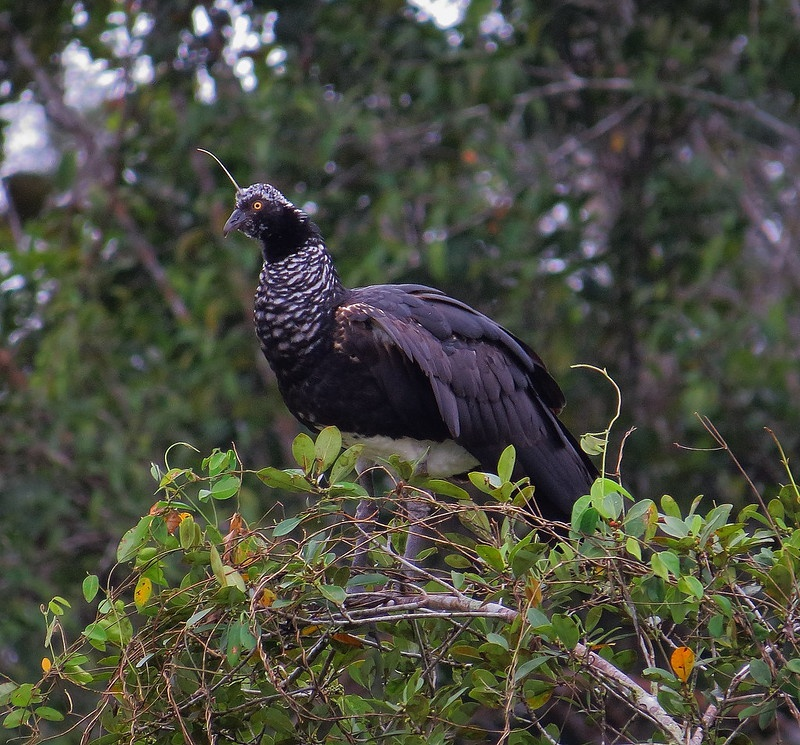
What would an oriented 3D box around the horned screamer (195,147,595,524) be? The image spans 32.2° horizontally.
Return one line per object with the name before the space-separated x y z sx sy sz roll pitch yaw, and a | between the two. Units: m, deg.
horned screamer | 0.073 -0.059 5.295 1.856 1.269 0.665 9 4 -26
